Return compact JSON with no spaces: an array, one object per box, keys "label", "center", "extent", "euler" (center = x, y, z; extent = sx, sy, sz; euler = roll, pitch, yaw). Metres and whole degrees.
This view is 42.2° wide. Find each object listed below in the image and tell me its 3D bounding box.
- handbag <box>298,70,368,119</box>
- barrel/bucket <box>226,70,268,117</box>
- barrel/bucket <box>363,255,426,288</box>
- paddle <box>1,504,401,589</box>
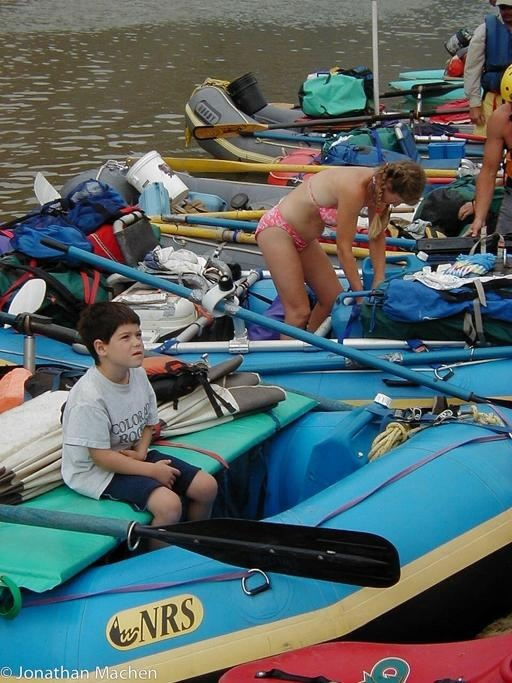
[{"label":"handbag","center":[1.124,-3.355,8.946],"extent":[0.977,0.531,0.829],"euler":[11,35,21]},{"label":"barrel/bucket","center":[-0.171,-3.482,9.413],"extent":[0.504,0.481,0.479],"euler":[-27,22,12]},{"label":"barrel/bucket","center":[0.888,-0.414,4.043],"extent":[0.438,0.118,0.242],"euler":[-9,24,-8]},{"label":"paddle","center":[-0.159,0.583,1.872],"extent":[1.404,0.142,0.142],"euler":[4,7,10]}]
